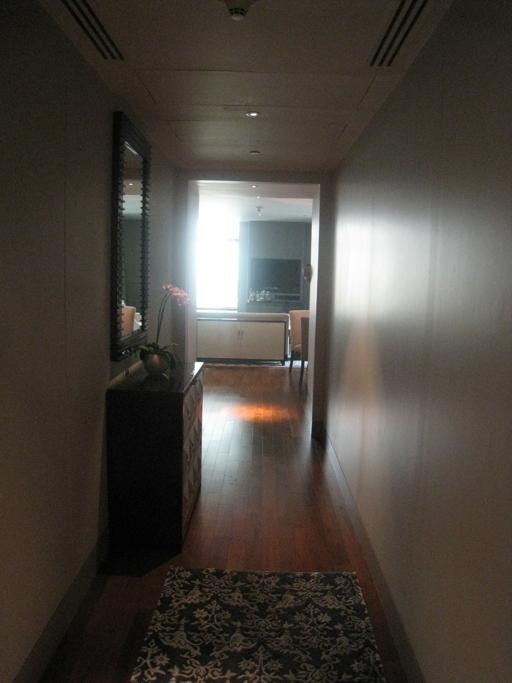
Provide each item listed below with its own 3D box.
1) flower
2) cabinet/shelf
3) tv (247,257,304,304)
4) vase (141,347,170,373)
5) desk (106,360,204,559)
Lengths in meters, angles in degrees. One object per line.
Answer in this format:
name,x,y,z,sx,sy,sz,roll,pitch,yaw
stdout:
flower,-0.513,-0.071,2.833,0.270,0.507,0.228,-4,-9,16
cabinet/shelf,-0.226,-0.030,8.005,1.375,0.774,0.186,2,4,-1
tv,0.401,-1.221,10.035,0.779,0.744,0.291,0,9,0
vase,-0.536,0.103,2.734,0.117,0.114,0.139,1,-1,8
desk,-0.505,0.592,2.461,0.282,0.756,0.860,1,-2,4
